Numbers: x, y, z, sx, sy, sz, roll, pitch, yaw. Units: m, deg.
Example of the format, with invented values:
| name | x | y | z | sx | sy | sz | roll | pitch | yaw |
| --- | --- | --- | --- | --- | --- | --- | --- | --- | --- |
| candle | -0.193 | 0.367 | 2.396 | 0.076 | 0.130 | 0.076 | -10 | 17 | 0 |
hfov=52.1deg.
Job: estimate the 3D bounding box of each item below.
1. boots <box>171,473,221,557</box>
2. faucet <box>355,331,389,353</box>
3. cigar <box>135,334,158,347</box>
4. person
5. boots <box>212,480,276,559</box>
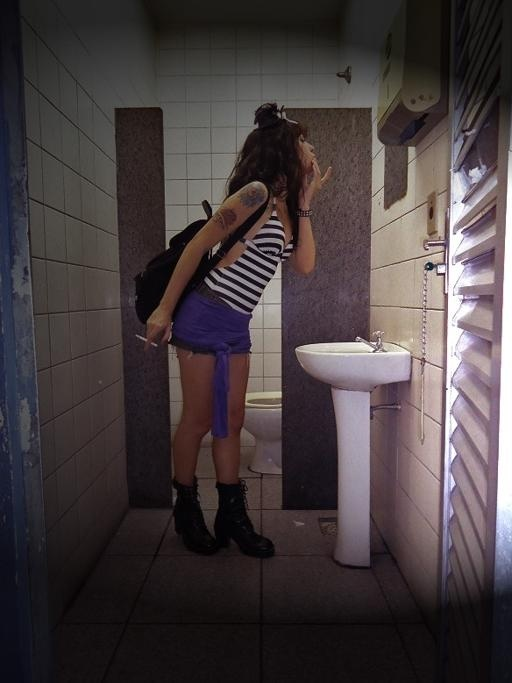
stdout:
| name | x | y | z | sx | sy | sz | roll | pitch | yaw |
| --- | --- | --- | --- | --- | --- | --- | --- | --- | --- |
| boots | -0.177 | 0.486 | 1.460 | 0.063 | 0.170 | 0.175 | 3 | 7 | -40 |
| faucet | 0.304 | -0.003 | 1.368 | 0.067 | 0.070 | 0.044 | 0 | 6 | -11 |
| cigar | -0.295 | -0.005 | 1.404 | 0.039 | 0.009 | 0.010 | 30 | -21 | 0 |
| person | -0.046 | 0.001 | 1.456 | 0.384 | 1.272 | 0.259 | 5 | 15 | -1 |
| boots | -0.009 | 0.520 | 1.561 | 0.202 | 0.316 | 0.112 | 0 | -1 | 10 |
